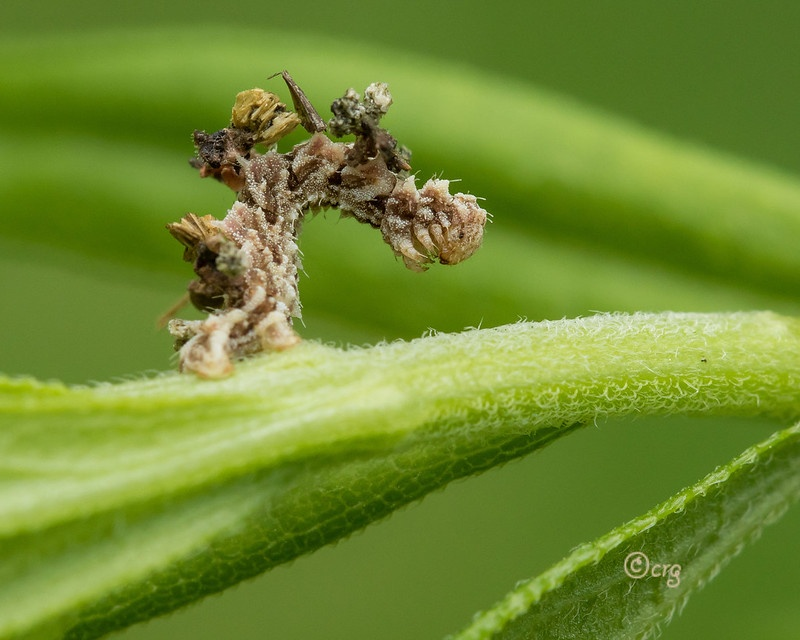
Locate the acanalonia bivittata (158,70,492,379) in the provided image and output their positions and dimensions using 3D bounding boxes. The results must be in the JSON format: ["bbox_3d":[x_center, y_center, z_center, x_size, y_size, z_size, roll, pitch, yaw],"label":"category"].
[{"bbox_3d":[-0.152,-0.195,1.916,0.560,0.535,0.302,-2,15,-24],"label":"acanalonia bivittata"}]
